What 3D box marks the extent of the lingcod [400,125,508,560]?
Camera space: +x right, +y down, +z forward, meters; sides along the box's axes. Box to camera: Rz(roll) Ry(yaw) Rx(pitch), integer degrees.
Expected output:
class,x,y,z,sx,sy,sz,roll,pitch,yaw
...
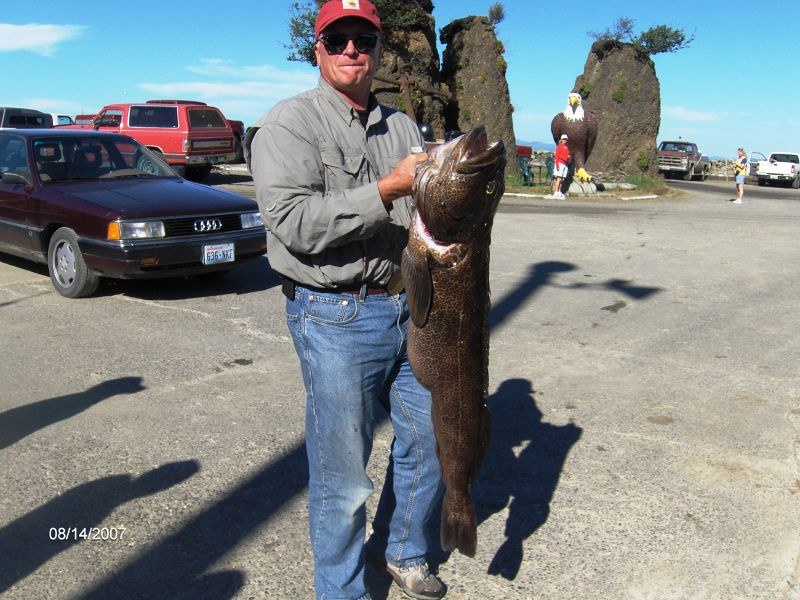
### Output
class,x,y,z,sx,sy,sz,roll,pitch,yaw
lingcod,0.160,0.248,1.958,0.348,1.657,0.498,5,15,10

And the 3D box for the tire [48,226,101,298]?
class,x,y,z,sx,sy,sz,roll,pitch,yaw
tire,-4.296,-0.473,7.191,0.828,0.872,0.274,0,5,32

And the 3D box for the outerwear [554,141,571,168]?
class,x,y,z,sx,sy,sz,roll,pitch,yaw
outerwear,6.261,-5.666,21.057,0.459,0.847,0.626,5,15,8

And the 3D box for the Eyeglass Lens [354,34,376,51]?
class,x,y,z,sx,sy,sz,roll,pitch,yaw
Eyeglass Lens,-0.137,-1.009,2.141,0.074,0.032,0.076,-1,43,-8

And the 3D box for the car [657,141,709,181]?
class,x,y,z,sx,sy,sz,roll,pitch,yaw
car,19.718,-9.705,38.144,3.069,2.518,2.629,9,16,22
